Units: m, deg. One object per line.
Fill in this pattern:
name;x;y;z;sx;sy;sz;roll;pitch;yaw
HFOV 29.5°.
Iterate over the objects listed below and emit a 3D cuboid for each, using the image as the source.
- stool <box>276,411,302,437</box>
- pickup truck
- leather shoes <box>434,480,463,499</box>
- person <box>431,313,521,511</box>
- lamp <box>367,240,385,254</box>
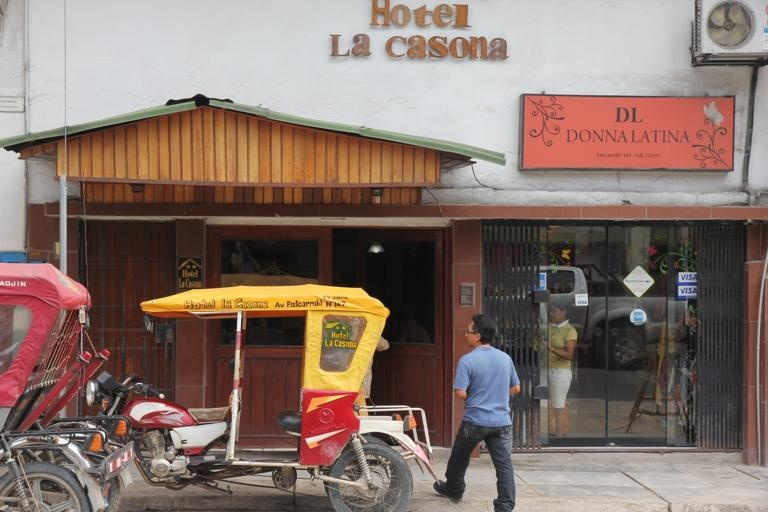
stool;-1.352;2.369;20.930;0.303;0.140;0.311;7;-7;16
pickup truck;3.168;0.957;23.954;3.103;1.384;1.285;4;-4;4
leather shoes;0.927;3.374;21.405;0.447;0.181;0.190;16;19;40
person;1.413;2.218;21.135;1.026;2.776;0.564;1;-2;1
lamp;-0.128;-0.153;23.871;0.192;0.152;0.216;0;1;10
